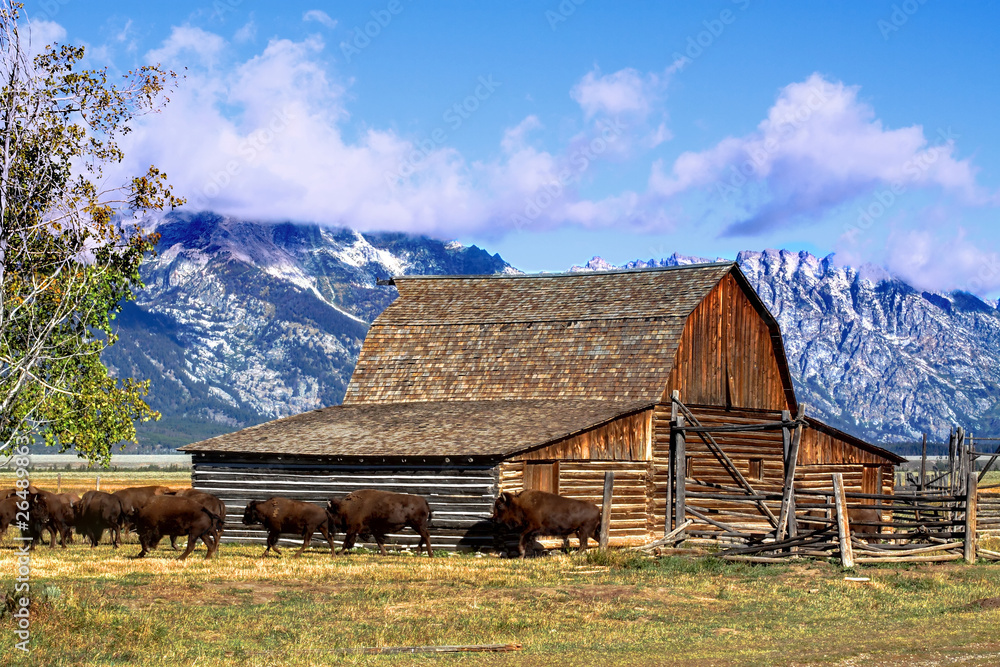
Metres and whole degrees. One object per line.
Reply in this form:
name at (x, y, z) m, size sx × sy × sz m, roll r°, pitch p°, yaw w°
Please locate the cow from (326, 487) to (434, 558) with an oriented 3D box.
cow at (-4.850, 7.376, 61.542) m, size 4.512 × 2.479 × 1.156 m, roll 1°, pitch 3°, yaw 0°
